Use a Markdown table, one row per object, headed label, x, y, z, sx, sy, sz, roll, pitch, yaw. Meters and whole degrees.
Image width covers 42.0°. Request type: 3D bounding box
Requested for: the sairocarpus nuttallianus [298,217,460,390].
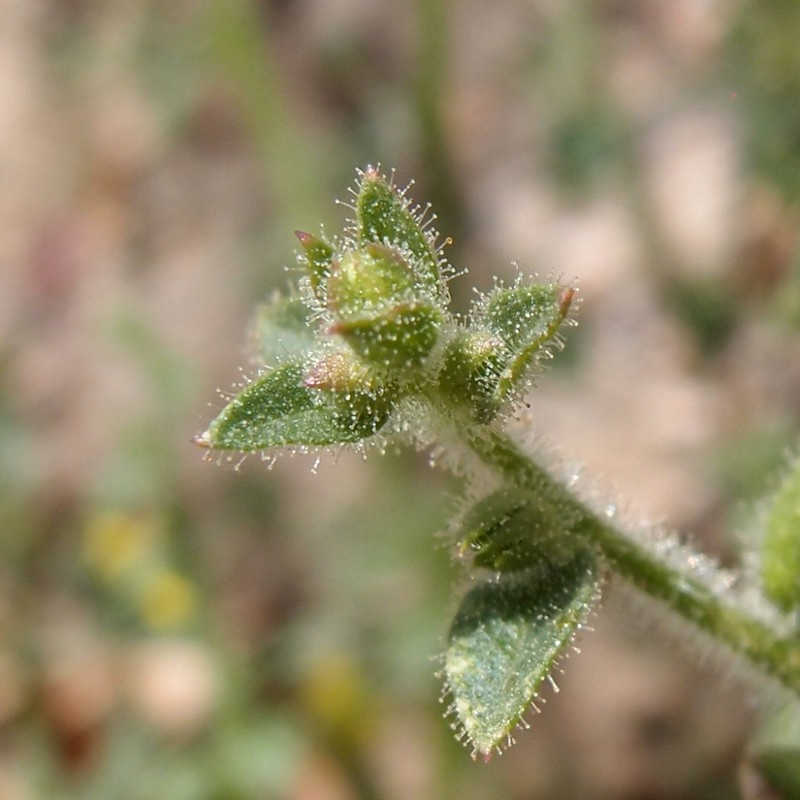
| label | x | y | z | sx | sy | sz | roll | pitch | yaw |
| --- | --- | --- | --- | --- | --- | --- | --- | --- | --- |
| sairocarpus nuttallianus | -0.094 | -0.239 | 2.640 | 0.458 | 0.240 | 0.515 | -6 | 39 | 19 |
